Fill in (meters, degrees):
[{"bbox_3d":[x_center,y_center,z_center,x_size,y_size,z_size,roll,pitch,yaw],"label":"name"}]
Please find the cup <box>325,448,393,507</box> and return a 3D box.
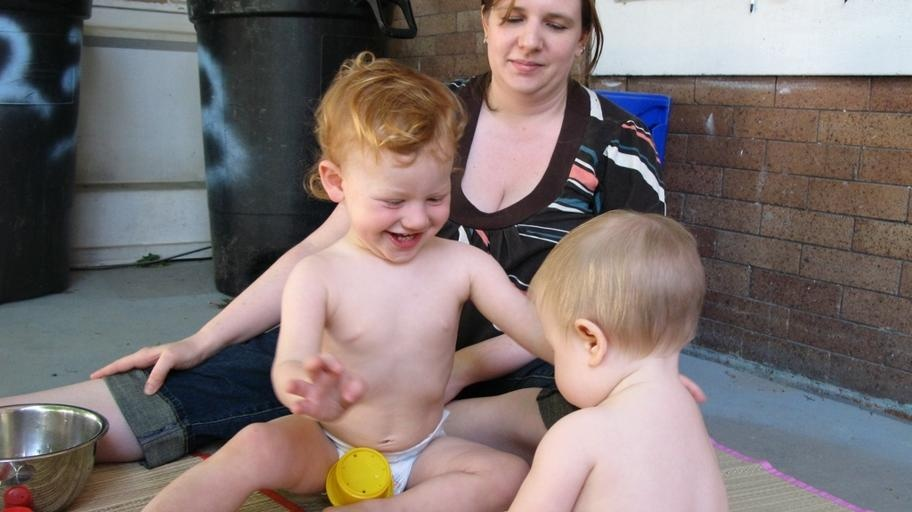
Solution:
[{"bbox_3d":[-0.281,0.654,1.917,0.197,0.162,0.108,0,15,-6],"label":"cup"}]
